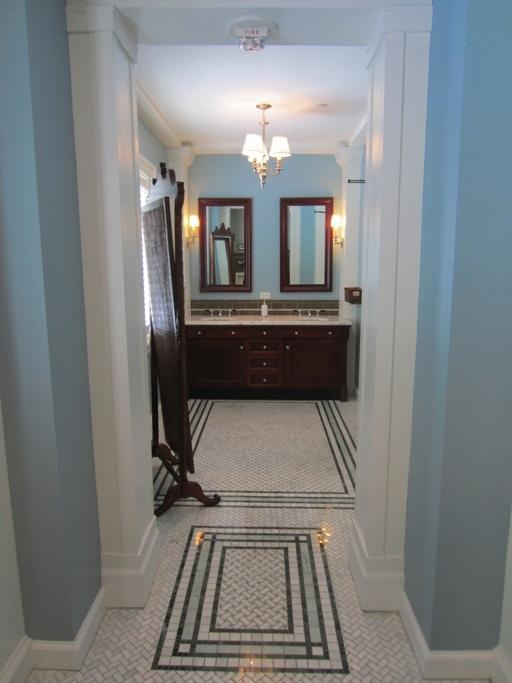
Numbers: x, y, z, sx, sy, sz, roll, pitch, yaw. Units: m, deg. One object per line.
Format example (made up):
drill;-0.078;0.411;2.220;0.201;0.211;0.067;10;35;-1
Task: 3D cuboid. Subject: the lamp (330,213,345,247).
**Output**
lamp;0.968;-1.322;5.759;0.129;0.369;0.114;-1;7;-10

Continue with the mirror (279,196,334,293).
mirror;0.621;-1.138;5.846;0.648;0.092;1.525;2;-38;8

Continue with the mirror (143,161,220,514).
mirror;-0.494;0.045;2.878;0.317;2.038;0.526;-3;7;-24

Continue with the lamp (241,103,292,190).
lamp;0.086;-1.714;4.200;0.322;0.673;0.339;-11;18;-36
